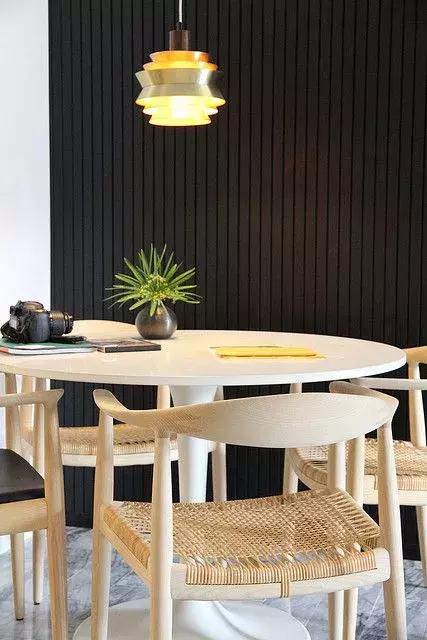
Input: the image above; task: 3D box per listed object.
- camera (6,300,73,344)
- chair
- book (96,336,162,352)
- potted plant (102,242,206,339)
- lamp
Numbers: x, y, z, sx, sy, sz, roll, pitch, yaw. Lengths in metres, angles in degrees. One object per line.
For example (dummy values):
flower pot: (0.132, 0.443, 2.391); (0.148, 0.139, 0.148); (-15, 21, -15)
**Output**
camera: (-0.462, 0.008, 1.635); (0.123, 0.077, 0.123); (1, 4, -32)
chair: (0.005, 0.417, 1.635); (0.889, 0.707, 0.949); (0, 1, 3)
book: (-0.233, 0.070, 1.647); (0.173, 0.028, 0.187); (2, 1, -11)
potted plant: (-0.176, -0.079, 1.853); (0.249, 0.300, 0.263); (-3, 2, -19)
lamp: (-0.104, -0.860, 1.904); (0.253, 0.456, 0.433); (1, 1, -6)
